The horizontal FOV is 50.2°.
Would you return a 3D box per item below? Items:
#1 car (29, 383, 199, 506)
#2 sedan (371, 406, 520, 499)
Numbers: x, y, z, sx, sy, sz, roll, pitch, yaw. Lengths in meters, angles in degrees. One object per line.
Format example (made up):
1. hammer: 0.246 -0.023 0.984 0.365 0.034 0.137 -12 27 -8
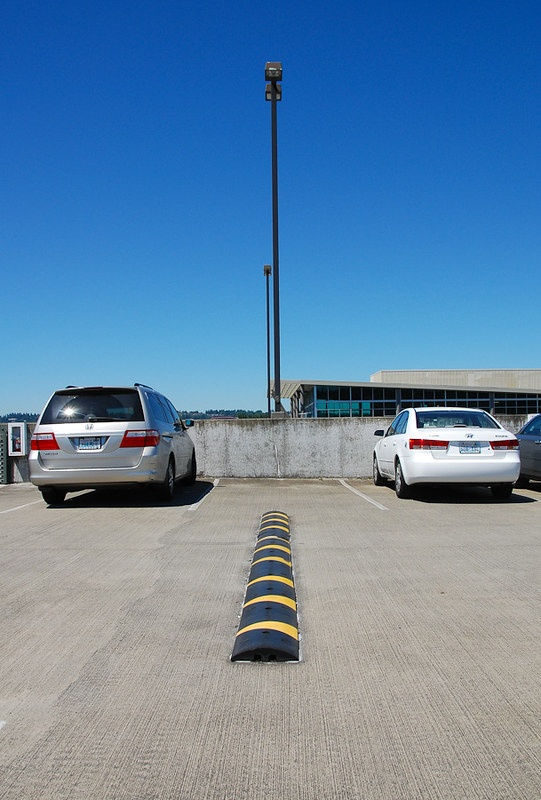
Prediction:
1. car: -2.358 0.699 9.179 1.835 1.614 2.592 -5 0 25
2. sedan: 2.735 0.781 9.882 1.074 1.061 2.572 0 0 1
